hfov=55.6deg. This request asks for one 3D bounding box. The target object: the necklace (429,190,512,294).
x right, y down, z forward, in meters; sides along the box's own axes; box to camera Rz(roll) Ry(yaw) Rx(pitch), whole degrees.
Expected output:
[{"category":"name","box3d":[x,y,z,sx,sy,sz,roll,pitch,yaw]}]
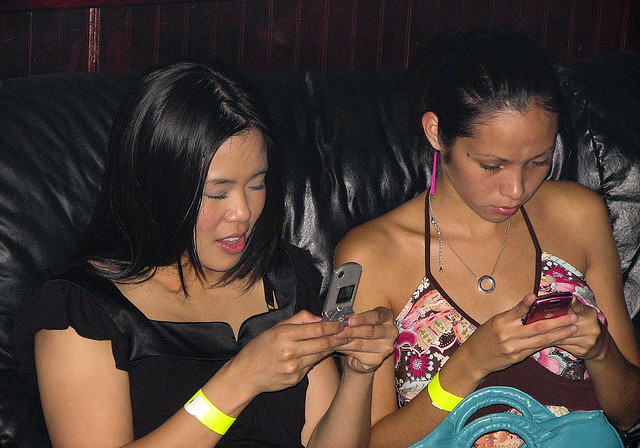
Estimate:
[{"category":"necklace","box3d":[0.697,0.093,2.744,0.449,0.553,0.066,5,-27,-5]}]

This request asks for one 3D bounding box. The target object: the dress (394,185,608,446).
[{"category":"dress","box3d":[0.754,0.421,2.569,0.730,0.968,0.518,-25,0,-21]}]

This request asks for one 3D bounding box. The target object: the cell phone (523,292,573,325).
[{"category":"cell phone","box3d":[0.876,0.354,2.327,0.142,0.253,0.031,-8,47,-4]}]

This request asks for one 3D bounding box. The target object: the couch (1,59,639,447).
[{"category":"couch","box3d":[-0.047,0.171,2.591,1.842,0.669,0.649,-6,40,-9]}]

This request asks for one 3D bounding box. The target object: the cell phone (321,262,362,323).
[{"category":"cell phone","box3d":[0.078,0.250,2.182,0.136,0.229,0.117,-3,5,-17]}]
